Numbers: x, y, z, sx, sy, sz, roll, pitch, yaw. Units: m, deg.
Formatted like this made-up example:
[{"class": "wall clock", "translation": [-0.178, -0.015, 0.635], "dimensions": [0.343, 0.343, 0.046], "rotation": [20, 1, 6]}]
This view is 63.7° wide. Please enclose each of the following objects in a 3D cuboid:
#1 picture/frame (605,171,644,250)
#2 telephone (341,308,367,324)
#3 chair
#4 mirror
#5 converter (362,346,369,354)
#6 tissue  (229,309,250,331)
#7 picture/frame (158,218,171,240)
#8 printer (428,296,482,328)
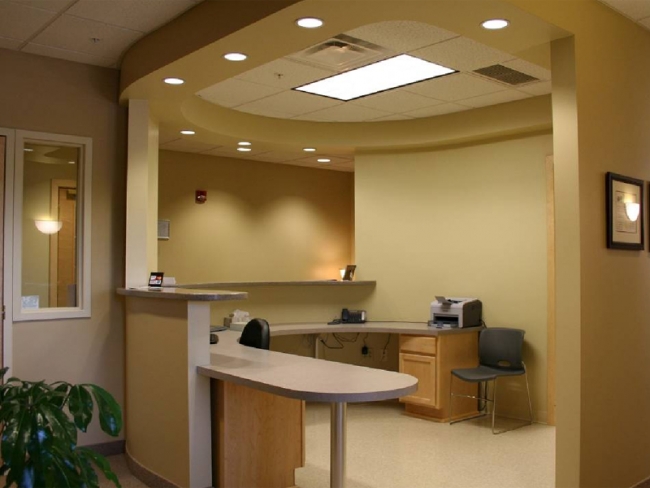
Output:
[{"class": "picture/frame", "translation": [2.169, -0.236, 3.799], "dimensions": [0.550, 0.615, 0.044], "rotation": [2, 0, -44]}, {"class": "telephone", "translation": [0.338, 0.834, 6.066], "dimensions": [0.242, 0.148, 0.145], "rotation": [1, -1, 1]}, {"class": "chair", "translation": [1.703, 1.340, 5.316], "dimensions": [0.662, 0.973, 0.667], "rotation": [-2, -8, 40]}, {"class": "mirror", "translation": [-2.350, -0.155, 4.519], "dimensions": [0.620, 1.602, 0.149], "rotation": [-1, 1, -29]}, {"class": "converter", "translation": [0.493, 1.293, 6.409], "dimensions": [0.084, 0.085, 0.046], "rotation": [1, -7, -7]}, {"class": "tissue ", "translation": [-0.898, 0.781, 5.539], "dimensions": [0.186, 0.224, 0.231], "rotation": [-2, -4, 25]}, {"class": "picture/frame", "translation": [-2.145, -0.198, 6.967], "dimensions": [0.216, 0.243, 0.214], "rotation": [2, -4, -36]}, {"class": "printer", "translation": [1.434, 0.709, 5.721], "dimensions": [0.483, 0.373, 0.572], "rotation": [0, 0, 27]}]
